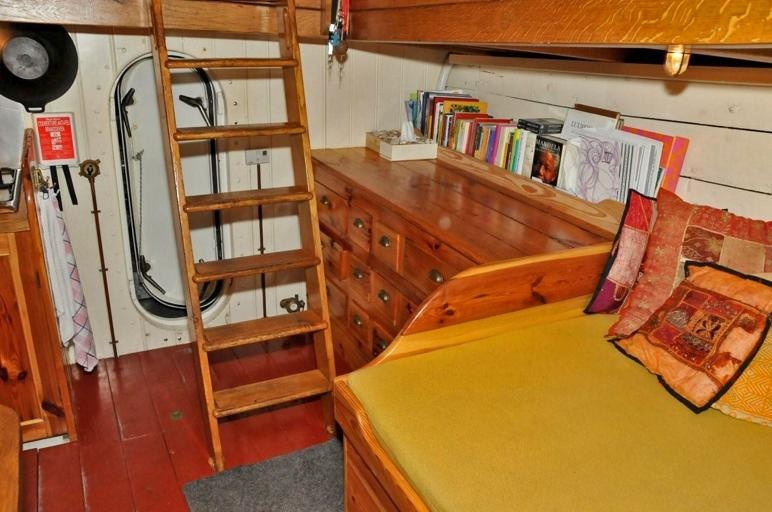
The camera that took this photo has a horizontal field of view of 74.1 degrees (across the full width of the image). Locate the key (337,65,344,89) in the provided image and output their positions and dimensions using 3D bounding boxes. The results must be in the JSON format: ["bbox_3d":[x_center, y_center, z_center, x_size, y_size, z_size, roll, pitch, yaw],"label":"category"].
[{"bbox_3d":[-0.296,-1.169,3.331,0.039,0.153,0.011,-11,26,-27],"label":"key"}]

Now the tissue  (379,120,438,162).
[{"bbox_3d":[0.136,-0.689,3.188,0.321,0.184,0.292,-10,27,-23],"label":"tissue "}]

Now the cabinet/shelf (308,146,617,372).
[{"bbox_3d":[0.377,-0.003,2.374,0.469,0.715,1.157,-13,34,-28],"label":"cabinet/shelf"}]
